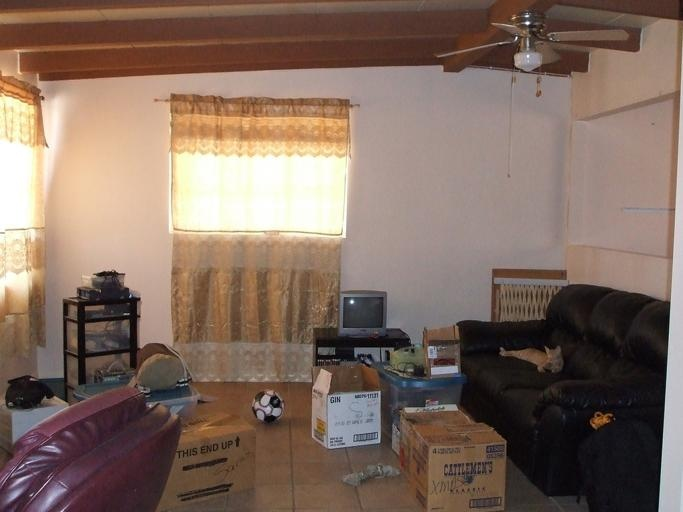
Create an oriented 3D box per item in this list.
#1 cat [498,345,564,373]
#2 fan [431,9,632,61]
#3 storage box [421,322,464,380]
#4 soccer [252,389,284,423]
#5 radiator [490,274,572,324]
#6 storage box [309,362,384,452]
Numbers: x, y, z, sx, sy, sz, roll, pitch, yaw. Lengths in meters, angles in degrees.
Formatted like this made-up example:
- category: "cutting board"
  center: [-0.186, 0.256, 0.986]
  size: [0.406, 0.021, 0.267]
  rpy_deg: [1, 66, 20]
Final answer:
- category: "cat"
  center: [1.643, 0.903, 5.461]
  size: [0.594, 0.204, 0.291]
  rpy_deg: [-1, 31, 42]
- category: "fan"
  center: [1.378, -1.713, 4.581]
  size: [0.981, 0.182, 1.065]
  rpy_deg: [0, 13, -8]
- category: "storage box"
  center: [0.782, 0.742, 4.873]
  size: [0.348, 0.512, 0.344]
  rpy_deg: [0, 12, 4]
- category: "soccer"
  center: [-0.624, 1.278, 5.201]
  size: [0.253, 0.271, 0.263]
  rpy_deg: [6, -35, -10]
- category: "radiator"
  center: [1.903, 0.419, 6.485]
  size: [0.549, 0.606, 0.141]
  rpy_deg: [4, -2, 4]
- category: "storage box"
  center: [0.039, 1.192, 4.919]
  size: [0.505, 0.566, 0.389]
  rpy_deg: [2, -4, -26]
